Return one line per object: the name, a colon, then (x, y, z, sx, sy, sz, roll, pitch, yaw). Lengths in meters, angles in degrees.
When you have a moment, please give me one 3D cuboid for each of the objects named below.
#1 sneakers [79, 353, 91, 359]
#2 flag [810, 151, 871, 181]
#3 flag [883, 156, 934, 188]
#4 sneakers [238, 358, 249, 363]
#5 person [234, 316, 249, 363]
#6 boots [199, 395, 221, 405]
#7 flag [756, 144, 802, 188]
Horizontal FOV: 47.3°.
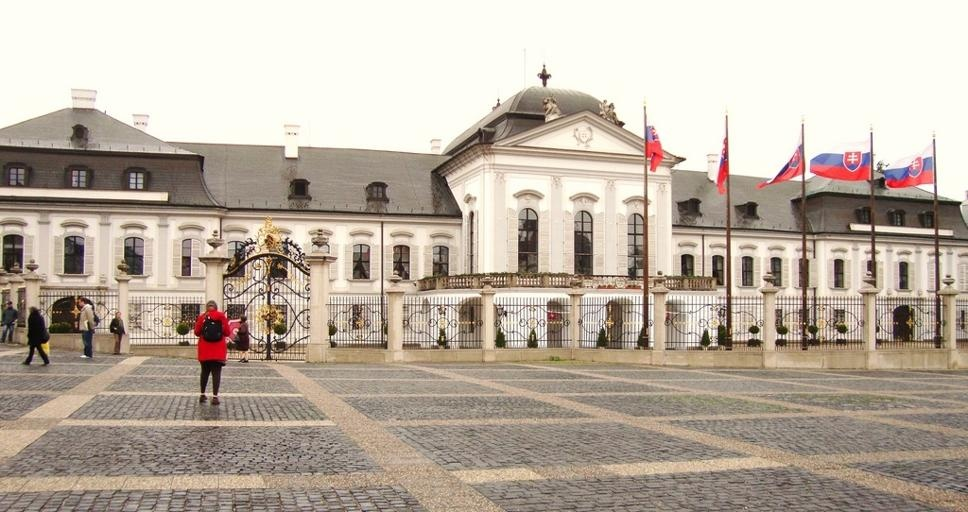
sneakers: (-18.999, 4.846, 52.454, 0.723, 0.226, 0.247, 2, -4, 21)
flag: (20.438, -5.051, 62.686, 2.920, 1.790, 1.819, -5, 15, -30)
flag: (25.082, -5.119, 64.805, 0.627, 2.123, 3.478, 1, -2, -26)
sneakers: (-11.789, 5.199, 54.016, 0.482, 0.158, 0.186, 3, 0, 42)
person: (-11.878, 4.048, 53.976, 0.669, 2.596, 1.502, 0, 14, -14)
boots: (-10.892, 5.785, 43.720, 0.417, 0.272, 0.968, 3, -3, -45)
flag: (17.413, -5.079, 62.632, 1.499, 2.521, 4.995, 7, 13, 15)
